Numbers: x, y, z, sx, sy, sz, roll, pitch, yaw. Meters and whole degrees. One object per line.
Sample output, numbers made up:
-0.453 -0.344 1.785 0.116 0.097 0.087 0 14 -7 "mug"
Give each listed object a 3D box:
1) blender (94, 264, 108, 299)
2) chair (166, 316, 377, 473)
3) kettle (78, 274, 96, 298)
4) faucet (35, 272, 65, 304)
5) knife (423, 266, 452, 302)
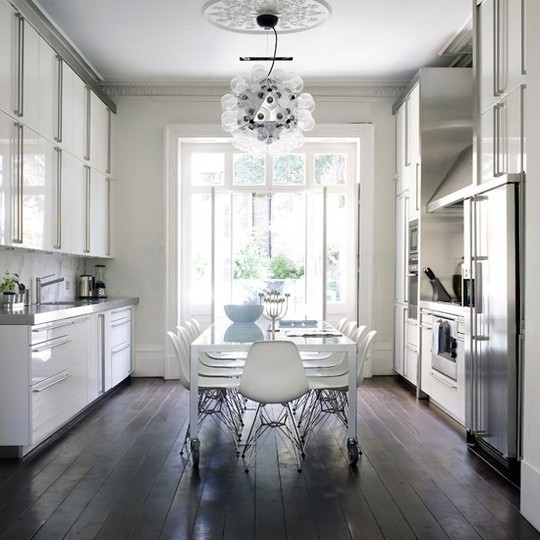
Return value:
-1.919 0.113 5.299 0.129 0.383 0.367 0 -1 -20 "blender"
0.037 0.808 3.330 1.316 0.810 1.447 0 -1 3 "chair"
-1.979 0.183 5.052 0.152 0.301 0.208 1 3 4 "kettle"
-2.020 0.173 4.257 0.162 0.258 0.795 0 -1 -23 "faucet"
1.567 0.126 4.276 0.228 0.317 0.405 0 -1 -13 "knife"
